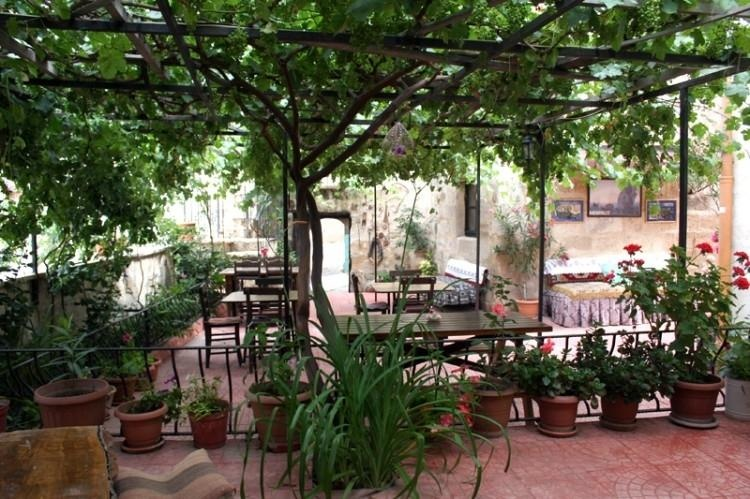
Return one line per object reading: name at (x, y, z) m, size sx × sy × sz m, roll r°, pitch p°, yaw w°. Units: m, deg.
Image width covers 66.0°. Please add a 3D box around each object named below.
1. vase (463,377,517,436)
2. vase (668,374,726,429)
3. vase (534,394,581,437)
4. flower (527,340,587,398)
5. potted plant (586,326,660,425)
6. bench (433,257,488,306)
vase at (1.105, 1.518, 5.441) m, size 0.467 × 0.386 × 0.465 m, roll 17°, pitch -17°, yaw -23°
vase at (3.026, 1.461, 5.630) m, size 0.488 × 0.412 × 0.480 m, roll -2°, pitch 5°, yaw -14°
vase at (1.717, 1.542, 5.474) m, size 0.409 × 0.298 × 0.391 m, roll 1°, pitch -6°, yaw -1°
flower at (1.675, 1.151, 5.430) m, size 0.466 × 0.308 × 0.515 m, roll 4°, pitch 9°, yaw 13°
potted plant at (2.286, 1.288, 5.651) m, size 0.667 × 0.951 × 0.698 m, roll 16°, pitch -18°, yaw -39°
bench at (1.672, 0.714, 11.860) m, size 0.786 × 0.694 × 1.413 m, roll -16°, pitch 8°, yaw -9°
